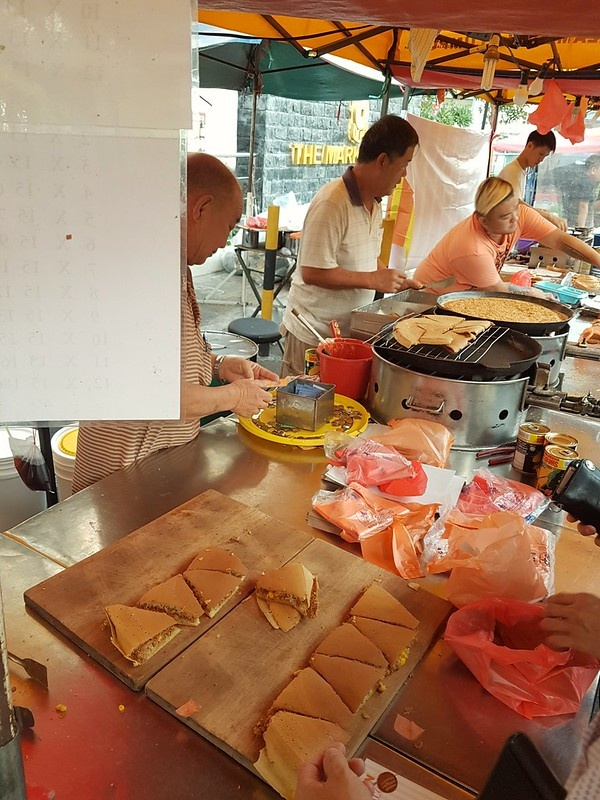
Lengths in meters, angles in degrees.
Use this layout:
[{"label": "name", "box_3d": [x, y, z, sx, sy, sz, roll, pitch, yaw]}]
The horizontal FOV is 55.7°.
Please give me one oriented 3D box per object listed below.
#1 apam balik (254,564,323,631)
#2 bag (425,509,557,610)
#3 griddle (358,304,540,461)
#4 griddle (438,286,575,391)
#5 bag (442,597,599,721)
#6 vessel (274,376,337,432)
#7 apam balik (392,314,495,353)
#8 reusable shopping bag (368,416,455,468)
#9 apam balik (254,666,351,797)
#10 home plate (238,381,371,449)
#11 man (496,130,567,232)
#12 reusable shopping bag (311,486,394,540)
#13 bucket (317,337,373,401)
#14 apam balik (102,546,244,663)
[{"label": "apam balik", "box_3d": [-0.037, 0.442, 1.269, 0.126, 0.035, 0.116, -23, 51, -35]}, {"label": "bag", "box_3d": [0.490, 0.413, 1.493, 0.270, 0.103, 0.352, -15, -1, 11]}, {"label": "griddle", "box_3d": [0.555, -0.051, 2.217, 0.543, 0.207, 0.592, 20, 27, 36]}, {"label": "griddle", "box_3d": [1.100, -0.381, 2.893, 0.685, 0.218, 0.628, 3, 21, 6]}, {"label": "bag", "box_3d": [0.438, 0.504, 1.161, 0.226, 0.068, 0.224, 11, 25, 43]}, {"label": "vessel", "box_3d": [0.022, 0.003, 2.216, 0.216, 0.166, 0.203, 6, 14, 15]}, {"label": "apam balik", "box_3d": [0.569, -0.286, 2.375, 0.260, 0.038, 0.273, 13, 27, 36]}, {"label": "reusable shopping bag", "box_3d": [0.385, 0.140, 1.963, 0.216, 0.063, 0.208, 17, 24, 22]}, {"label": "apam balik", "box_3d": [0.006, 0.567, 0.979, 0.137, 0.060, 0.218, 14, 19, 30]}, {"label": "home plate", "box_3d": [-0.042, 0.046, 2.264, 0.368, 0.025, 0.358, -23, 31, -35]}, {"label": "man", "box_3d": [2.181, -2.061, 5.435, 0.657, 0.920, 0.611, 22, 13, 30]}, {"label": "reusable shopping bag", "box_3d": [0.168, 0.341, 1.673, 0.264, 0.059, 0.267, -2, 21, -4]}, {"label": "bucket", "box_3d": [0.194, -0.135, 2.539, 0.294, 0.198, 0.276, 1, 24, -1]}, {"label": "apam balik", "box_3d": [-0.268, 0.455, 1.236, 0.135, 0.052, 0.273, 26, 31, 29]}]
